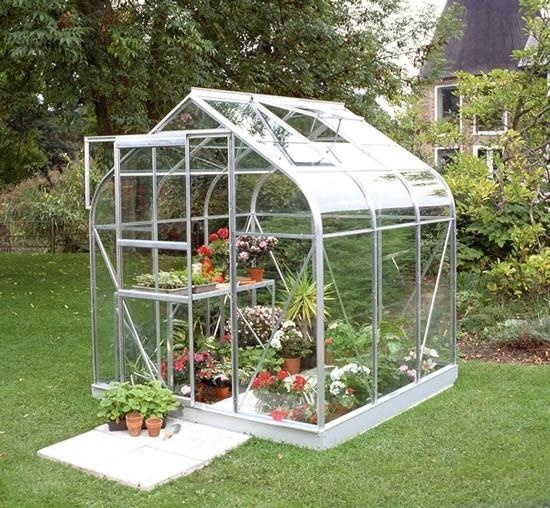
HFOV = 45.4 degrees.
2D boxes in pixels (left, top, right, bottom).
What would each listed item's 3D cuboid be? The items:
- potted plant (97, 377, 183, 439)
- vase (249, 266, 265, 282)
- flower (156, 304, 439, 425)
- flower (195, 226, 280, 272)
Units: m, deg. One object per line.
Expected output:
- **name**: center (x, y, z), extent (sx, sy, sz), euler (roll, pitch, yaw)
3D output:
- **potted plant**: center (-1.419, 1.559, 6.755), extent (0.645, 0.331, 0.568), euler (1, 0, -5)
- **vase**: center (-0.202, 0.215, 6.966), extent (0.161, 0.116, 0.156), euler (4, 7, 22)
- **flower**: center (0.136, 1.055, 6.945), extent (2.784, 1.121, 1.484), euler (0, 10, 5)
- **flower**: center (-0.317, -0.055, 7.156), extent (0.684, 0.405, 0.602), euler (5, 8, 26)
